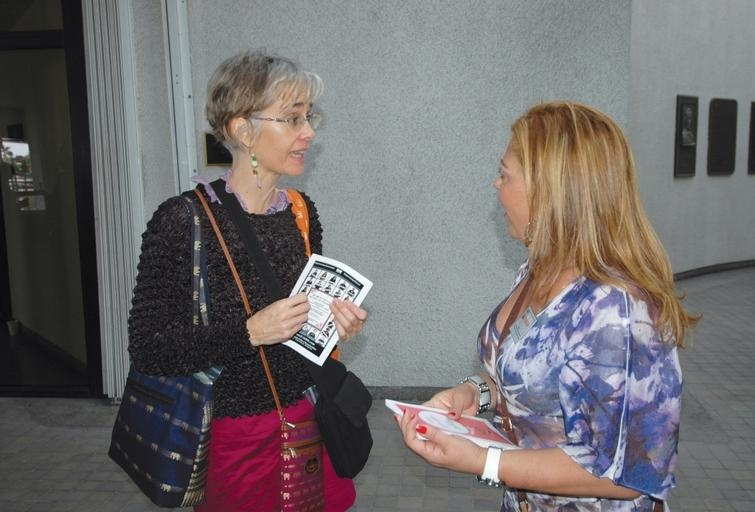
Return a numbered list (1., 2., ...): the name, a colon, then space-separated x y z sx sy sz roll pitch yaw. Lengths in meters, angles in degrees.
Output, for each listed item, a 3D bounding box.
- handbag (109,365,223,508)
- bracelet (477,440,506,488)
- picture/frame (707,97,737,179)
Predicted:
1. handbag: -0.821 0.697 2.195 0.365 0.491 0.219 3 14 15
2. bracelet: 0.370 0.715 1.910 0.095 0.140 0.138 25 -13 10
3. picture/frame: 5.963 -2.035 9.782 0.842 1.320 0.227 -11 17 -36
